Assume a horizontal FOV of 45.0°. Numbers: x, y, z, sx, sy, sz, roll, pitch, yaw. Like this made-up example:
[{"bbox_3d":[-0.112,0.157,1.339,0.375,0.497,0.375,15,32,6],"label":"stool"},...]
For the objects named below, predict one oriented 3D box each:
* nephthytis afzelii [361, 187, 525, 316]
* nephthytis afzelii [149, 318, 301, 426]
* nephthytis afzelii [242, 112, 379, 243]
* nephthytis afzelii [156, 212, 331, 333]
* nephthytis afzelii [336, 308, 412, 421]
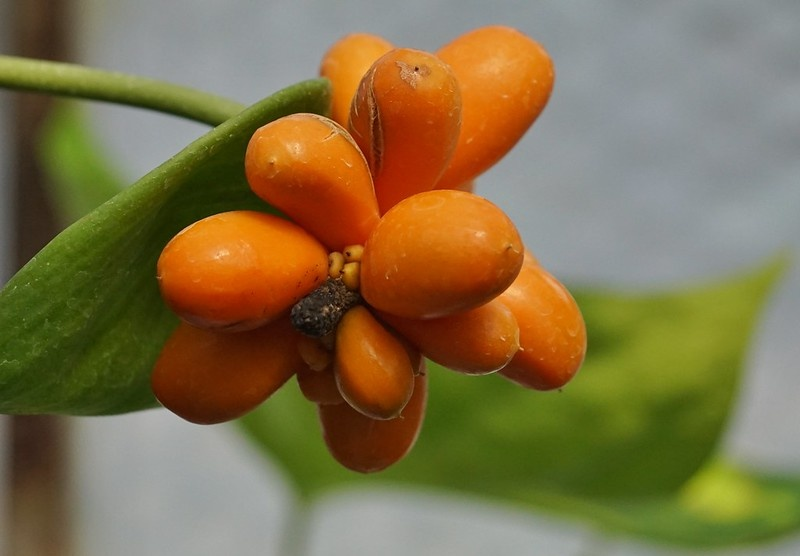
[{"bbox_3d":[0.045,-0.022,0.998,0.150,0.107,0.113,-9,56,1],"label":"nephthytis afzelii"},{"bbox_3d":[-0.191,0.099,1.060,0.179,0.100,0.131,-6,6,11],"label":"nephthytis afzelii"},{"bbox_3d":[-0.087,-0.099,1.015,0.089,0.148,0.069,-38,28,8],"label":"nephthytis afzelii"},{"bbox_3d":[-0.163,-0.009,1.012,0.158,0.098,0.096,-7,80,-21],"label":"nephthytis afzelii"},{"bbox_3d":[-0.025,0.092,1.016,0.089,0.081,0.133,2,27,-3],"label":"nephthytis afzelii"}]
